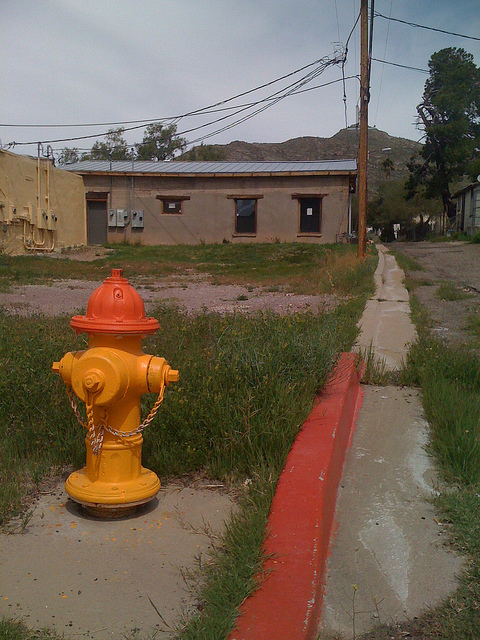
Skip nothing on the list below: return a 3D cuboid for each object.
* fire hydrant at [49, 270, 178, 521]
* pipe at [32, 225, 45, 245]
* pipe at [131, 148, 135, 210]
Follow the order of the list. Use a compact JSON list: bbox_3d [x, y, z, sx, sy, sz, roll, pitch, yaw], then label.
[{"bbox_3d":[-0.607,0.338,2.917,0.420,1.180,0.457,3,8,-1],"label":"fire hydrant"},{"bbox_3d":[-7.157,-3.026,21.891,0.042,0.816,0.584,0,3,15],"label":"pipe"},{"bbox_3d":[-4.512,-5.368,26.100,0.102,1.369,0.228,-3,8,-12],"label":"pipe"}]
